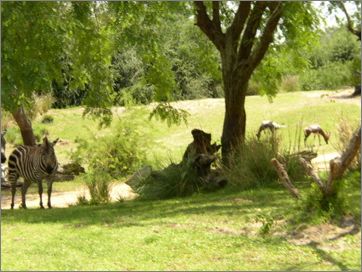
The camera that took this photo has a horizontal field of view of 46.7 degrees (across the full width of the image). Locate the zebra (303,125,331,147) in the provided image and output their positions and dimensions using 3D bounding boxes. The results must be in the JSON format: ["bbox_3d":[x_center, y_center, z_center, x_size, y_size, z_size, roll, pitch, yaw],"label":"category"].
[{"bbox_3d":[6.568,-0.077,20.297,1.002,0.922,3.683,0,7,18],"label":"zebra"}]

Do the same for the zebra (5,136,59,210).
[{"bbox_3d":[-4.123,1.015,11.484,1.799,2.038,0.650,2,7,34],"label":"zebra"}]
